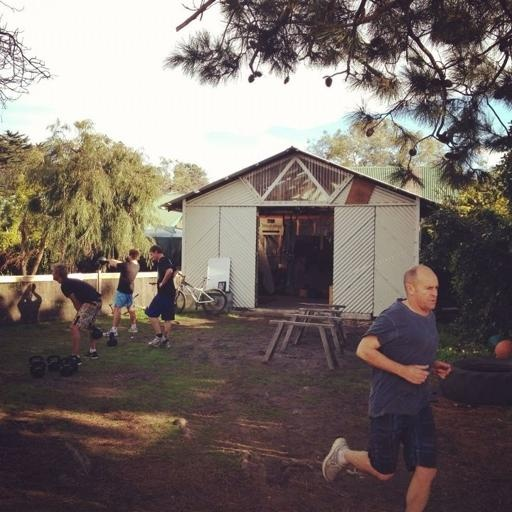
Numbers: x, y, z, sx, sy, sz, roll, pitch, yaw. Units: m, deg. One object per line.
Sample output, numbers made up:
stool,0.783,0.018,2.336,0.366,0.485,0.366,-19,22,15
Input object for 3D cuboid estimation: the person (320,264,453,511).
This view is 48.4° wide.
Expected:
person,0.977,0.939,3.985,0.669,1.770,0.709,3,-4,10

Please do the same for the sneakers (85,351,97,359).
sneakers,-2.701,1.606,9.266,0.212,0.105,0.083,3,3,29

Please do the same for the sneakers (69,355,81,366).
sneakers,-2.599,1.494,8.155,0.149,0.100,0.407,6,-3,-14

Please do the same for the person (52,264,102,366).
person,-2.652,0.857,8.589,0.502,0.966,1.223,4,-4,8

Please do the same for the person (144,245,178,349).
person,-1.723,0.730,10.247,0.508,1.850,0.653,5,-4,-12

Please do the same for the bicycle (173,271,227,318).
bicycle,-1.659,1.159,16.869,1.480,1.061,1.034,5,-1,9
